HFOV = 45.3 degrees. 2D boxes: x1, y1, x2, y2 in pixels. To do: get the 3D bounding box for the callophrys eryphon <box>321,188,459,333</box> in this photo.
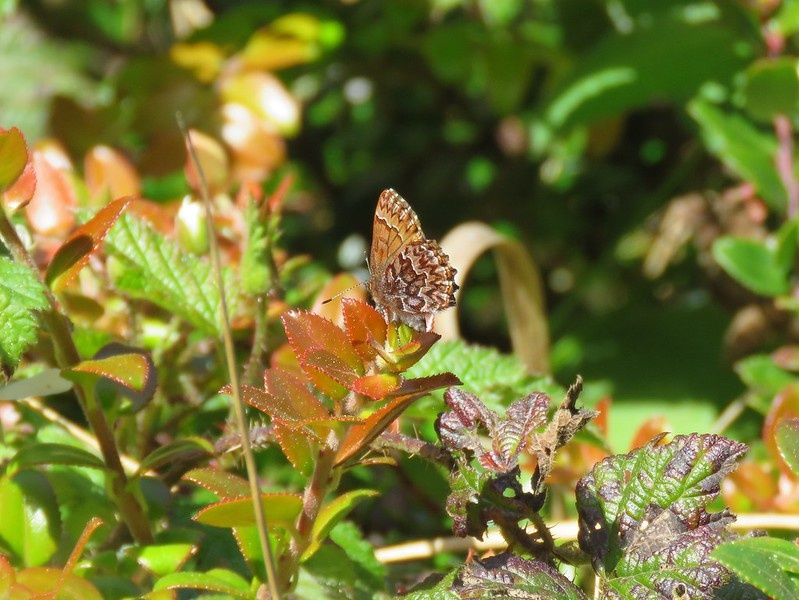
[{"bbox_3d":[0.001,-0.028,1.285,0.164,0.144,0.162,19,-12,-4],"label":"callophrys eryphon"}]
